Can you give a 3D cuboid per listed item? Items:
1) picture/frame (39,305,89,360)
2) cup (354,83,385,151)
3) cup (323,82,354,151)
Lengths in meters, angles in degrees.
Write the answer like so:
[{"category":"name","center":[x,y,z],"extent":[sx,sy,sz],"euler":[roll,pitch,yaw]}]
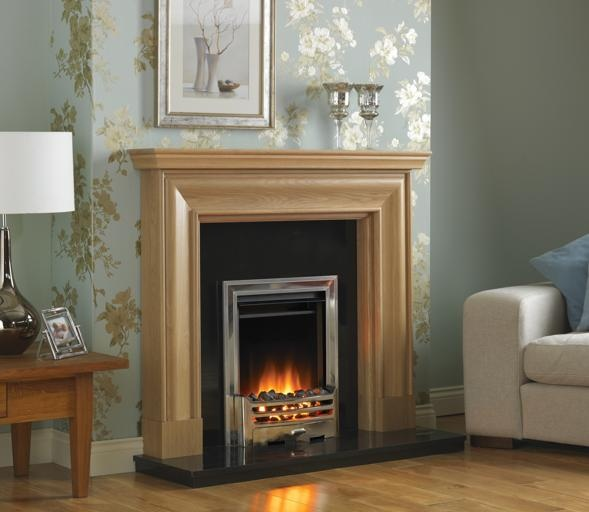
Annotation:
[{"category":"picture/frame","center":[-0.875,0.284,2.425],"extent":[0.166,0.244,0.200],"euler":[-13,-6,42]},{"category":"cup","center":[0.371,-0.709,3.069],"extent":[0.133,0.349,0.243],"euler":[-1,-2,9]},{"category":"cup","center":[0.213,-0.696,3.017],"extent":[0.142,0.319,0.208],"euler":[-1,-2,4]}]
